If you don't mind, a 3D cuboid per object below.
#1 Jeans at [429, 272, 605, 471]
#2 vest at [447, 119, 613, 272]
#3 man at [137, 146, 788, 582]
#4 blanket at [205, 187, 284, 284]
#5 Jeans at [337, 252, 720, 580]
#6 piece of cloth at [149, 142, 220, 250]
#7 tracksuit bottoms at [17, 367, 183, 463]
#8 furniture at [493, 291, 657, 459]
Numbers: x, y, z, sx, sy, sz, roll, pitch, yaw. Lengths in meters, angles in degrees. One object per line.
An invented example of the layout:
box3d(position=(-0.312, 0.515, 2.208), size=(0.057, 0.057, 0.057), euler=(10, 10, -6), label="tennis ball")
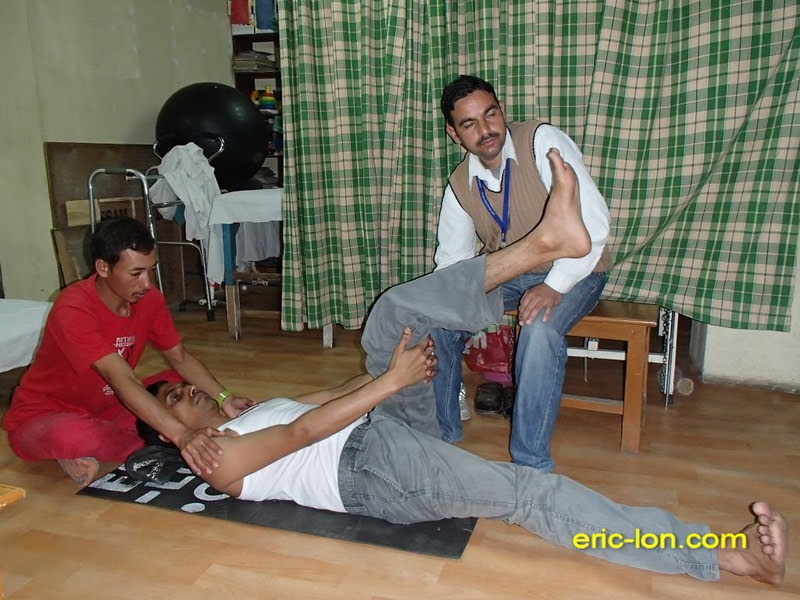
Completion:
box3d(position=(0.396, 0.212, 2.497), size=(0.609, 0.743, 0.684), euler=(3, 25, 3), label="Jeans")
box3d(position=(0.474, -0.388, 2.278), size=(0.441, 0.579, 0.301), euler=(-19, 30, 32), label="vest")
box3d(position=(0.144, 0.173, 2.008), size=(2.041, 1.027, 0.735), euler=(3, 19, 17), label="man")
box3d(position=(-1.030, -0.407, 3.748), size=(0.626, 0.451, 0.660), euler=(-10, 8, -12), label="blanket")
box3d(position=(0.345, 0.326, 1.908), size=(1.035, 0.870, 0.386), euler=(4, 15, 12), label="Jeans")
box3d(position=(-1.414, -0.670, 3.956), size=(0.467, 0.660, 0.314), euler=(4, -6, -36), label="piece of cloth")
box3d(position=(-1.291, 0.460, 2.346), size=(0.417, 0.136, 0.373), euler=(4, 9, 3), label="tracksuit bottoms")
box3d(position=(0.752, 0.285, 2.642), size=(0.566, 0.577, 0.581), euler=(5, 16, 16), label="furniture")
